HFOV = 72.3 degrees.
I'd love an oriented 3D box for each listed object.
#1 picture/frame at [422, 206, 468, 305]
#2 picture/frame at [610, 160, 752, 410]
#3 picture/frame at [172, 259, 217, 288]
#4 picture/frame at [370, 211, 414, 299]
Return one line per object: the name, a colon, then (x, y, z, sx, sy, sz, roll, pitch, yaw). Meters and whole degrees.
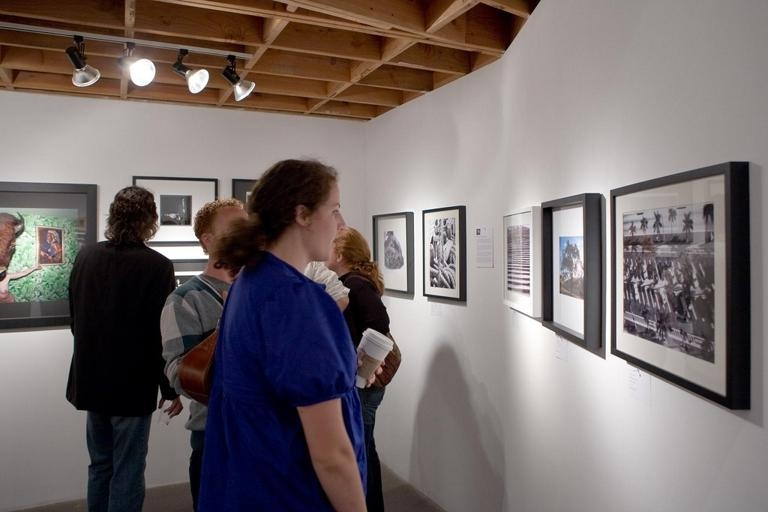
picture/frame: (0.485, -0.013, 4.022, 0.092, 0.963, 0.685, 2, -5, -27)
picture/frame: (1.269, 0.094, 2.301, 0.150, 0.959, 0.633, 1, 3, -21)
picture/frame: (-1.722, 0.132, 4.659, 0.456, 0.254, 0.095, -1, 3, -32)
picture/frame: (0.095, 0.002, 4.534, 0.073, 0.783, 0.734, 1, -3, -25)
